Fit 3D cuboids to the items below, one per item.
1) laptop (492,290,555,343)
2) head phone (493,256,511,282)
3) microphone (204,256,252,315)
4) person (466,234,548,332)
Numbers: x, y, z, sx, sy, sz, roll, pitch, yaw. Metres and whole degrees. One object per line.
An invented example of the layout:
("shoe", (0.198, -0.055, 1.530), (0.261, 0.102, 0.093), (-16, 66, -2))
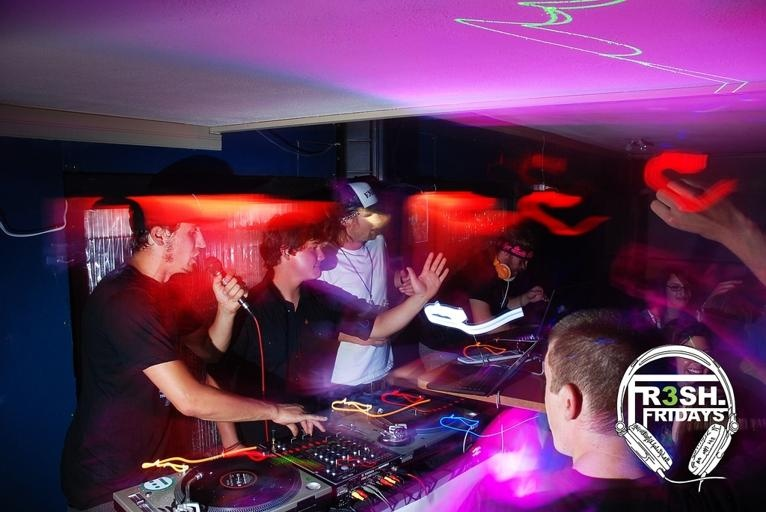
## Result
("laptop", (1.247, 0.427, 4.339), (0.427, 0.313, 0.519), (-2, 2, 29))
("head phone", (0.969, 0.089, 4.352), (0.083, 0.197, 0.163), (-33, -29, 23))
("microphone", (-0.851, 0.163, 2.902), (0.094, 0.390, 0.092), (-45, 14, -24))
("person", (1.050, 0.131, 4.360), (0.272, 0.688, 0.832), (10, 16, 43))
